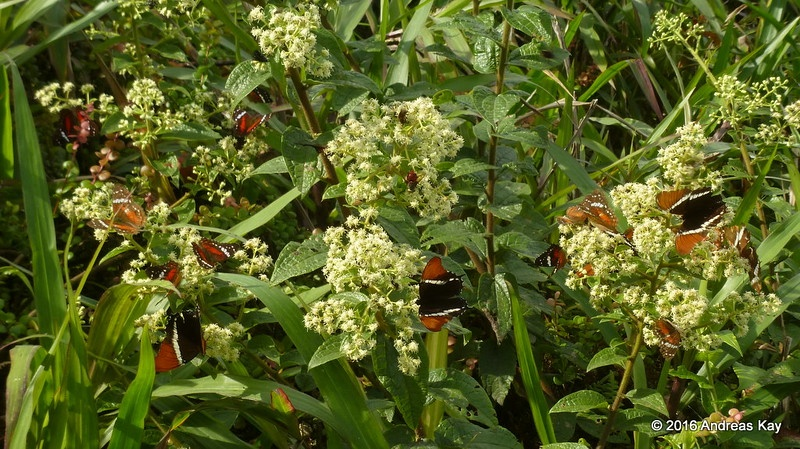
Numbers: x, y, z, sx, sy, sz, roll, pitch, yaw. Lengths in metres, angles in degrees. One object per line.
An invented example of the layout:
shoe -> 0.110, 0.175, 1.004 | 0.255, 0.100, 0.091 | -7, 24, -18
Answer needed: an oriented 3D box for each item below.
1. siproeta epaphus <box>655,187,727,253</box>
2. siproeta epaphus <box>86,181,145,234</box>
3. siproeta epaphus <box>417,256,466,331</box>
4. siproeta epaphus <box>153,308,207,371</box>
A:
siproeta epaphus -> 1.240, -0.025, 3.038 | 0.285, 0.306, 0.050 | 15, 14, 9
siproeta epaphus -> -1.330, -0.053, 3.288 | 0.293, 0.259, 0.099 | -2, 40, -40
siproeta epaphus -> 0.184, 0.312, 3.087 | 0.220, 0.332, 0.082 | 13, 14, 1
siproeta epaphus -> -1.015, 0.544, 3.248 | 0.212, 0.338, 0.169 | 8, 15, -17
